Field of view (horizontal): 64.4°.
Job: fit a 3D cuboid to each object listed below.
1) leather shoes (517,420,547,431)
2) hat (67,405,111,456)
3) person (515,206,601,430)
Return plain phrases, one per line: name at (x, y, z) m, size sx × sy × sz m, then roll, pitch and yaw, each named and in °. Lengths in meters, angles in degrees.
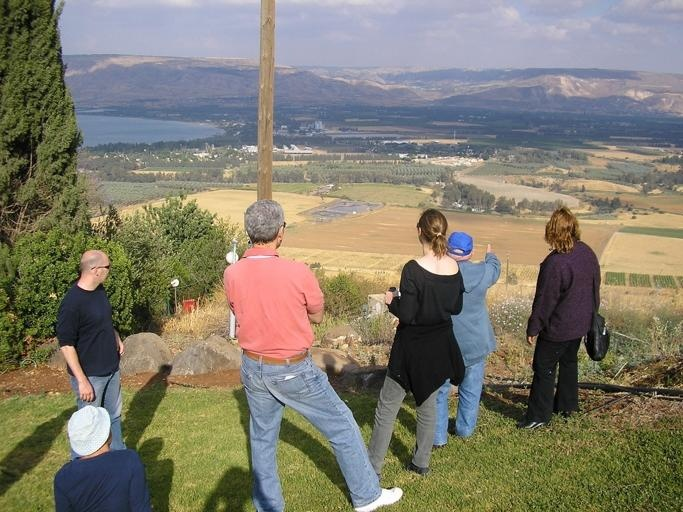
leather shoes at (1.865, 1.651, 5.308) m, size 0.250 × 0.118 × 0.104 m, roll 5°, pitch -1°, yaw 8°
hat at (-1.573, 1.075, 3.448) m, size 0.235 × 0.125 × 0.330 m, roll -26°, pitch 48°, yaw 17°
person at (2.098, 0.604, 5.242) m, size 0.754 × 2.108 × 0.349 m, roll -5°, pitch 13°, yaw -17°
